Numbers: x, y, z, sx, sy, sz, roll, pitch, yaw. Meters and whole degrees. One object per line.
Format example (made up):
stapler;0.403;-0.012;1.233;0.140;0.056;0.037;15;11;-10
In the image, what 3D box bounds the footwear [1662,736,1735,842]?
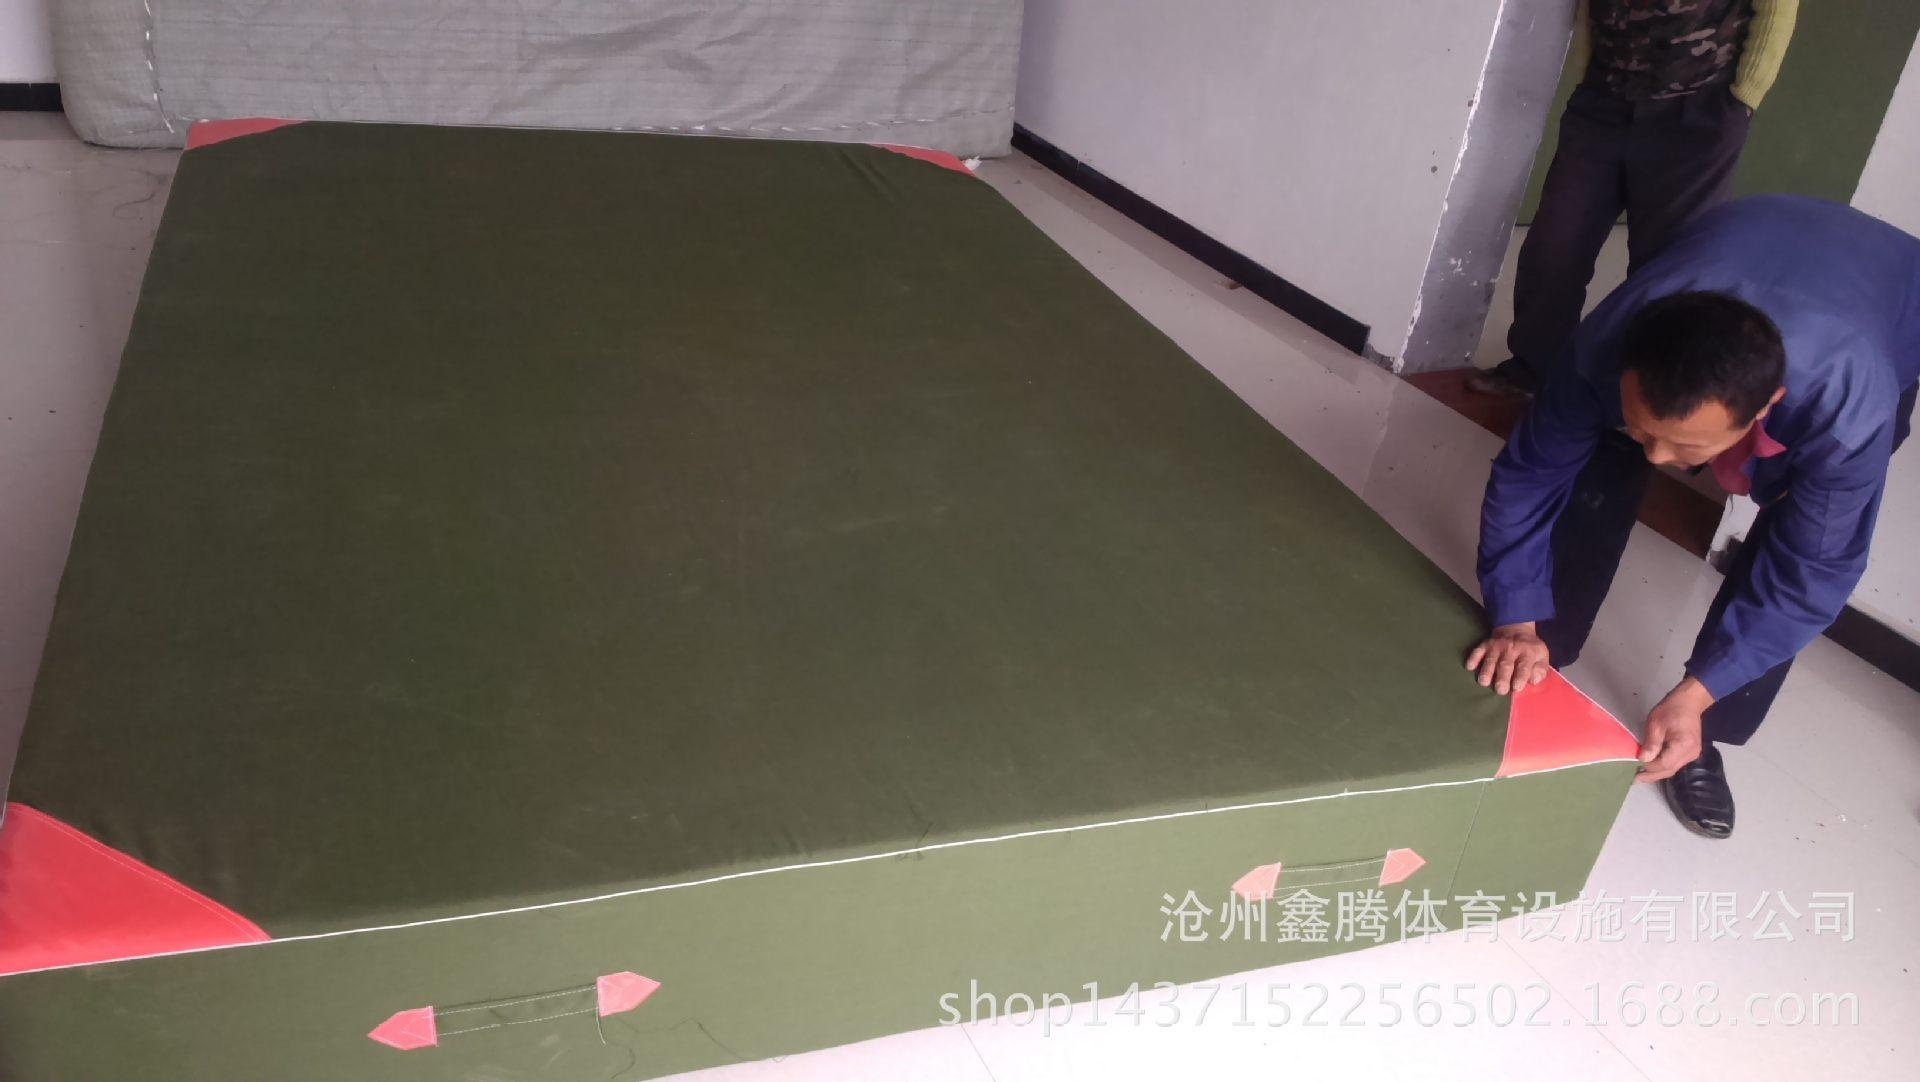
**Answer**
footwear;1.799;0.603;3.165;0.156;0.170;0.431;1;10;25
